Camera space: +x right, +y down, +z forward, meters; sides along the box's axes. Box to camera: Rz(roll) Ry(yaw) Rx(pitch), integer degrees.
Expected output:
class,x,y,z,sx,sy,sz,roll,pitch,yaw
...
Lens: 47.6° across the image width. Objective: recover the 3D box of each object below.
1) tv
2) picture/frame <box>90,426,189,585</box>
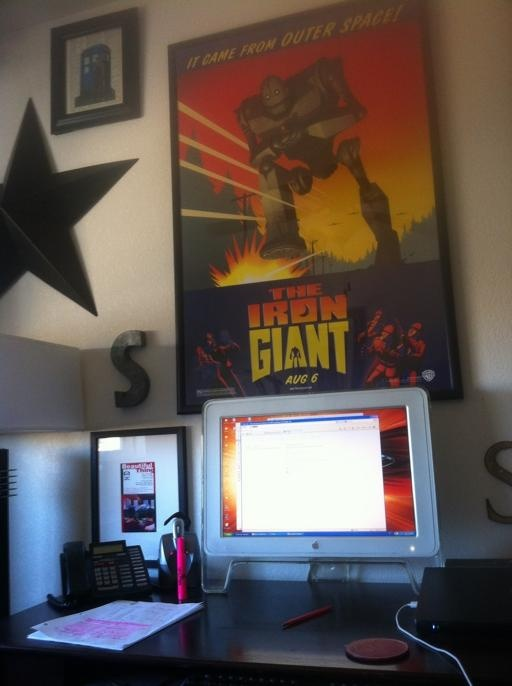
class,x,y,z,sx,sy,sz,roll,pitch,yaw
tv,0.153,0.333,1.306,0.448,0.399,0.048,-3,-18,12
picture/frame,-0.306,0.446,1.560,0.334,0.499,0.031,-4,-14,9
